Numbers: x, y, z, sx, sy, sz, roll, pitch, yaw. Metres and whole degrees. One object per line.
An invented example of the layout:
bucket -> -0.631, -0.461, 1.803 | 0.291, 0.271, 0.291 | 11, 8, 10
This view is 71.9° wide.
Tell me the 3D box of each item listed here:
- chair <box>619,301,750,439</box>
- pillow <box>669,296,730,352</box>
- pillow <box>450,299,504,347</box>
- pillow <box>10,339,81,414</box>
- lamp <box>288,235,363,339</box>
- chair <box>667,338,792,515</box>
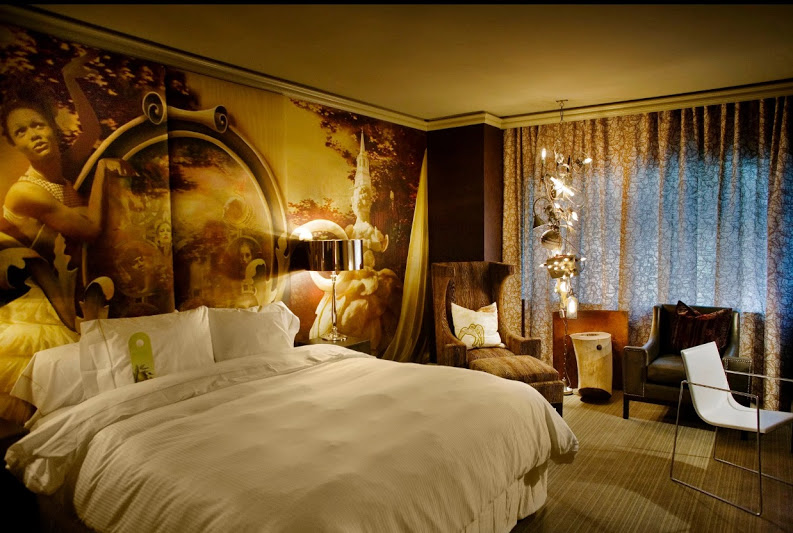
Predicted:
chair -> 3.055, 1.080, 6.070 | 1.264, 1.670, 1.214 | -3, -8, 38
pillow -> 3.225, 0.622, 5.816 | 0.202, 0.570, 0.534 | 26, -18, -32
pillow -> 0.919, 0.663, 6.326 | 0.476, 0.457, 0.233 | 0, -15, -13
pillow -> -2.678, 0.842, 4.237 | 0.467, 0.360, 0.487 | -13, 13, -36
lamp -> -0.801, 0.214, 5.996 | 0.609, 1.137, 0.565 | 3, 2, 43
chair -> 2.960, 1.317, 4.881 | 0.951, 1.288, 1.123 | 2, 1, 33
